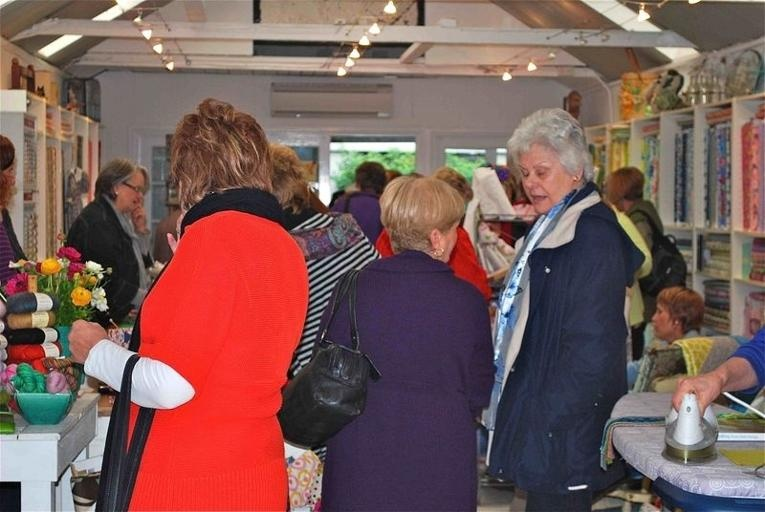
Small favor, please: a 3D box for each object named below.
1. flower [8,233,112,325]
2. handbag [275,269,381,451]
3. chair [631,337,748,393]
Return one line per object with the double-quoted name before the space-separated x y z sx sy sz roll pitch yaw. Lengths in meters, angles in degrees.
"flower" -1.531 0.149 3.562 0.413 0.422 0.429 1 -18 30
"handbag" -0.206 0.430 3.031 0.260 0.702 0.535 23 -36 -9
"chair" 1.671 0.536 4.092 0.437 0.157 0.327 1 -4 -42
